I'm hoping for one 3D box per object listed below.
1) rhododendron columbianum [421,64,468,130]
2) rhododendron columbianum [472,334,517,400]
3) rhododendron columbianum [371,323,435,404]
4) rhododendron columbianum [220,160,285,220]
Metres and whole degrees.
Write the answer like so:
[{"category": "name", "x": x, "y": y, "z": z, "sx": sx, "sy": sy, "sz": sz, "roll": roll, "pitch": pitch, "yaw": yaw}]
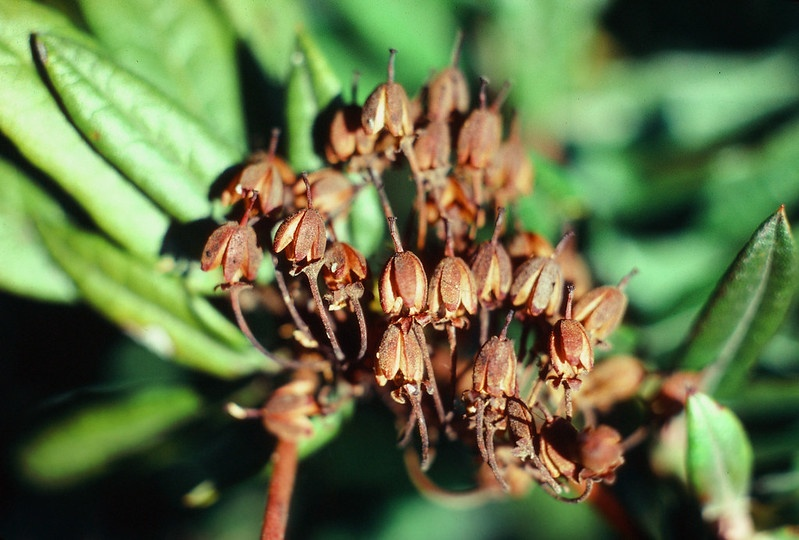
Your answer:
[{"category": "rhododendron columbianum", "x": 0.083, "y": -0.306, "z": 1.447, "sx": 0.060, "sy": 0.072, "sz": 0.110, "roll": 2, "pitch": 68, "yaw": 20}, {"category": "rhododendron columbianum", "x": 0.148, "y": 0.140, "z": 1.296, "sx": 0.062, "sy": 0.105, "sz": 0.072, "roll": 0, "pitch": 36, "yaw": -3}, {"category": "rhododendron columbianum", "x": 0.002, "y": 0.142, "z": 1.285, "sx": 0.074, "sy": 0.108, "sz": 0.069, "roll": 15, "pitch": 43, "yaw": 31}, {"category": "rhododendron columbianum", "x": -0.249, "y": -0.135, "z": 1.400, "sx": 0.110, "sy": 0.071, "sz": 0.068, "roll": -19, "pitch": 37, "yaw": -10}]
